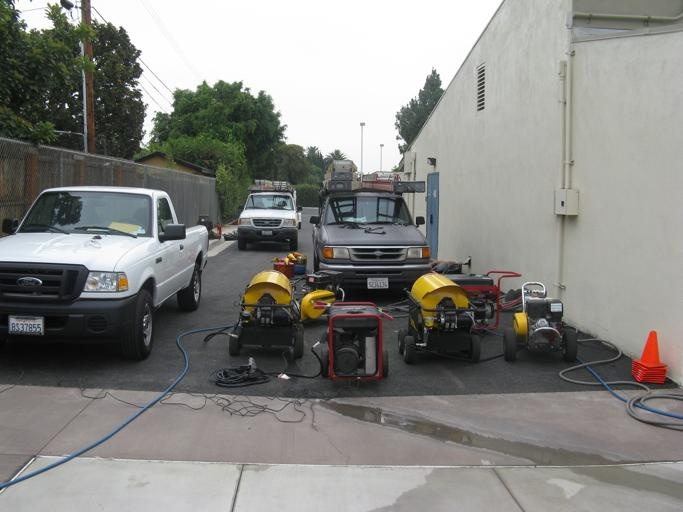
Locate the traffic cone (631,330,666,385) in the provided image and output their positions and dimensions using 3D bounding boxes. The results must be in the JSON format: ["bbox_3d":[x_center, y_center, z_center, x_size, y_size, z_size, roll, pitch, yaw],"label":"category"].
[{"bbox_3d":[3.802,1.232,7.033,0.386,0.635,0.276,7,12,29],"label":"traffic cone"}]

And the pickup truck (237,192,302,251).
[{"bbox_3d":[-2.892,-0.703,22.575,2.254,2.081,4.628,1,-13,-6],"label":"pickup truck"}]

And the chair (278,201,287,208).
[{"bbox_3d":[-2.308,-1.993,22.337,0.217,0.121,0.337,1,39,-4],"label":"chair"}]

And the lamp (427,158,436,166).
[{"bbox_3d":[2.686,-2.788,17.161,0.075,0.278,0.285,-10,26,-24],"label":"lamp"}]

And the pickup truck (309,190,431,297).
[{"bbox_3d":[0.604,-0.378,11.736,1.504,1.400,2.921,0,5,-2],"label":"pickup truck"}]
